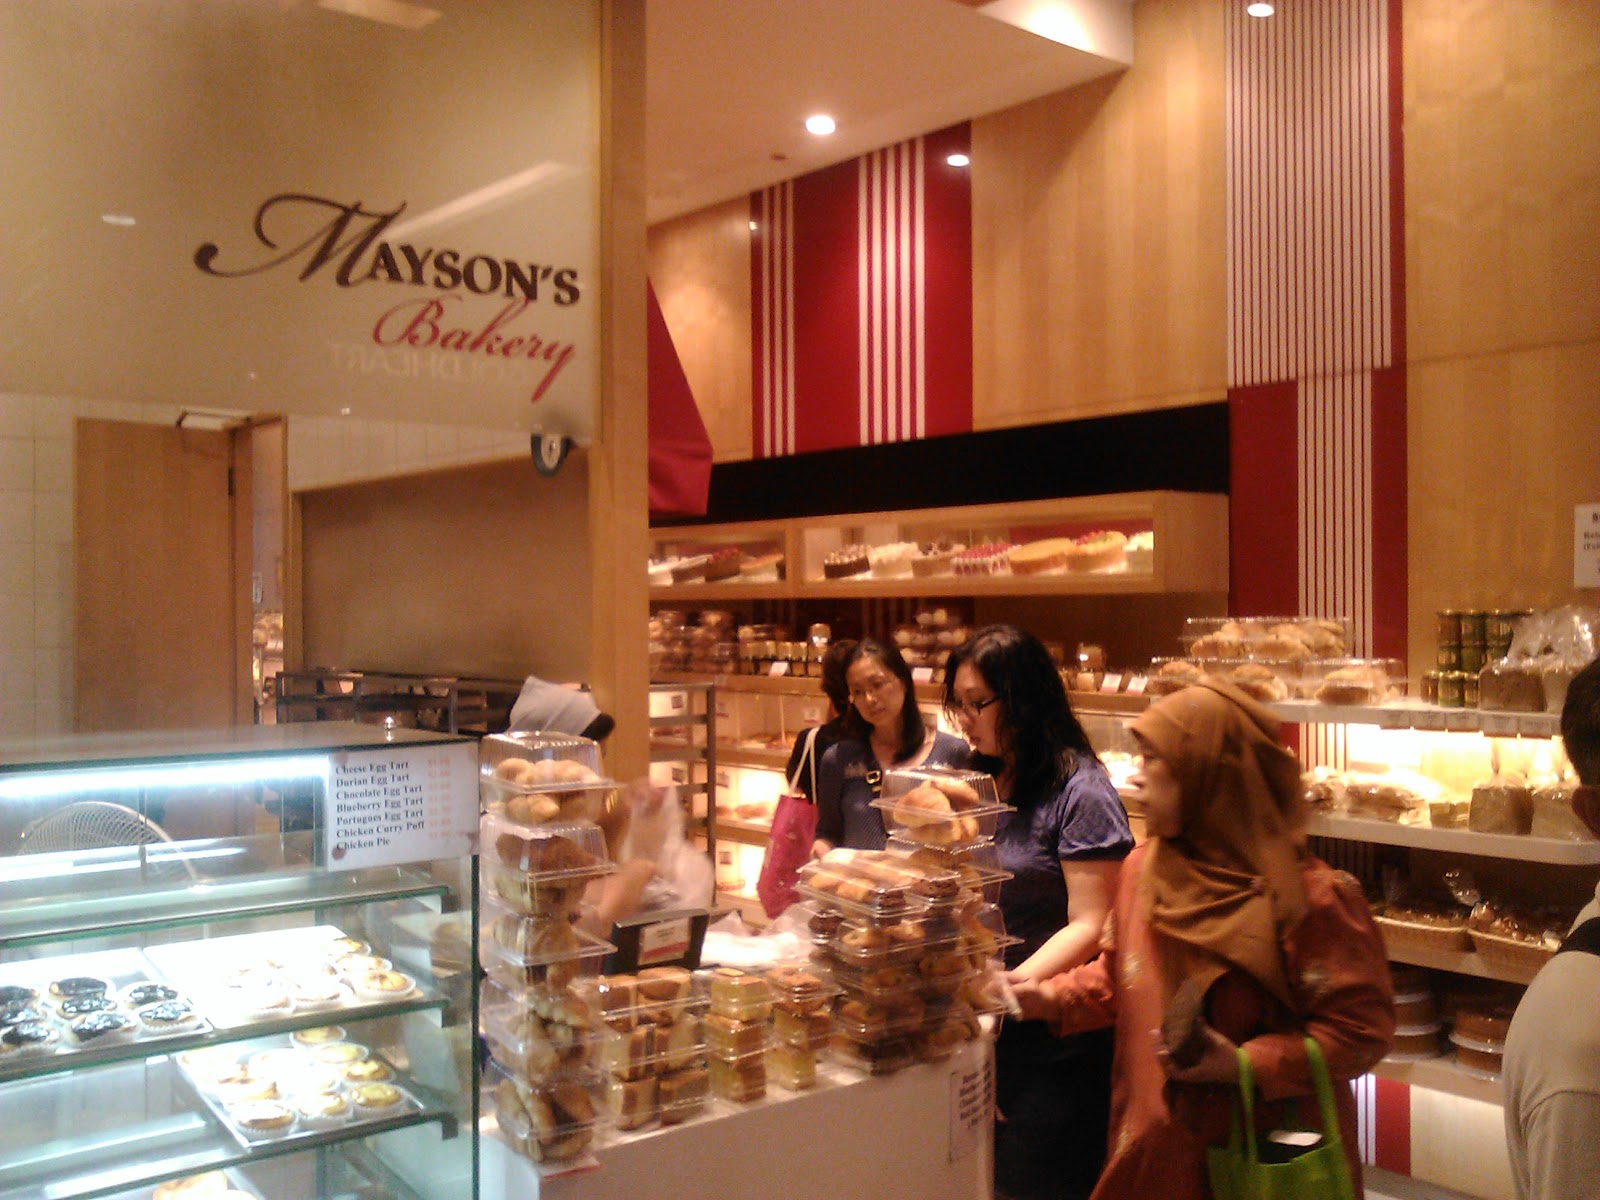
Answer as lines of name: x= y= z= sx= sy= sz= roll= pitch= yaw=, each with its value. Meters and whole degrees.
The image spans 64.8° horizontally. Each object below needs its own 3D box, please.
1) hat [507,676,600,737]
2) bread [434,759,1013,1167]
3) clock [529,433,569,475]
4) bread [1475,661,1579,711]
hat: x=-0.721 y=0.303 z=3.517 sx=0.230 sy=0.163 sz=0.258 roll=-4 pitch=1 yaw=34
bread: x=-0.174 y=0.613 z=2.691 sx=0.822 sy=0.542 sz=0.819 roll=0 pitch=0 yaw=-39
clock: x=-0.772 y=-0.430 z=3.874 sx=0.107 sy=0.153 sz=0.055 roll=4 pitch=3 yaw=14
bread: x=2.459 y=0.269 z=4.267 sx=0.194 sy=0.092 sz=0.247 roll=2 pitch=-1 yaw=-34
